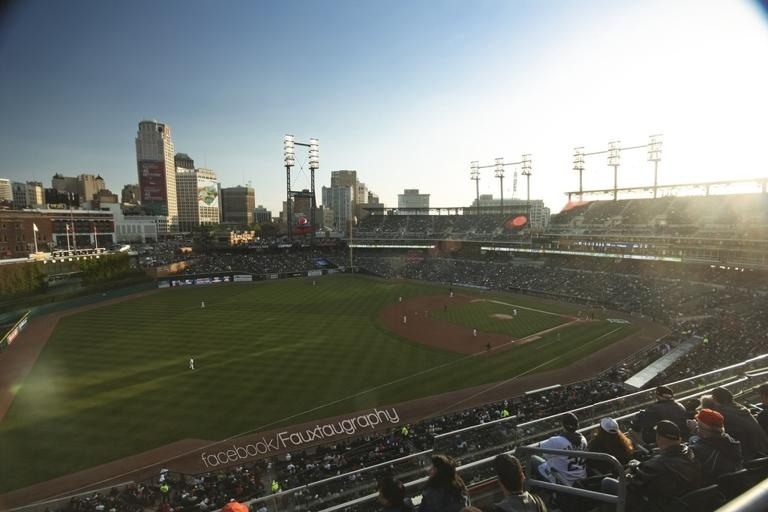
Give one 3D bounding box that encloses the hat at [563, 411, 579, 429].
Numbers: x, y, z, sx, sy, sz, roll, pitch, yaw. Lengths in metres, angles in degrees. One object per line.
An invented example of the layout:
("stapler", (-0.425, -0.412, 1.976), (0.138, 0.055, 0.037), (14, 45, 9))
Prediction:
("hat", (10.351, 9.153, 32.488), (0.800, 0.923, 0.929), (5, -13, -5))
